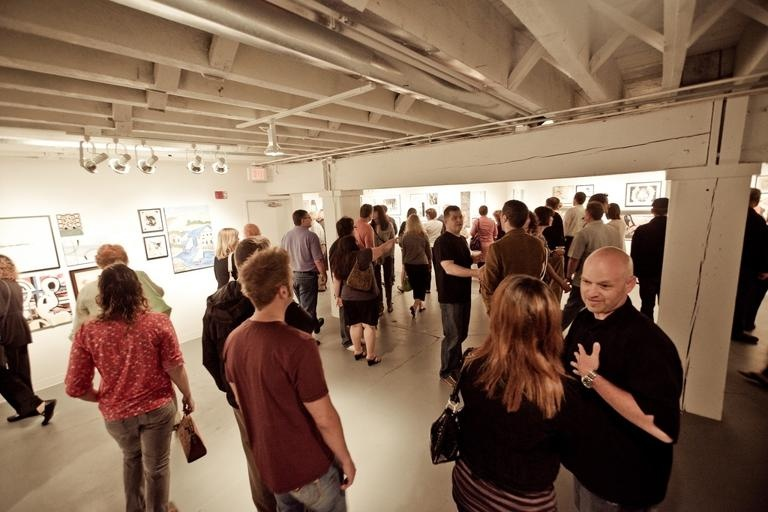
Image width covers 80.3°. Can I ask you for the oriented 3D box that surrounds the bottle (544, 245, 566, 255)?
[{"bbox_3d":[2.254,-0.060,5.954,0.256,0.141,0.343,-3,-4,39],"label":"bottle"}]

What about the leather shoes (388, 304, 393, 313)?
[{"bbox_3d":[0.117,0.918,7.950,0.051,0.112,0.162,6,16,20],"label":"leather shoes"}]

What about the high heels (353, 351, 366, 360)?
[{"bbox_3d":[-0.328,1.350,6.200,0.069,0.080,0.204,4,9,28],"label":"high heels"}]

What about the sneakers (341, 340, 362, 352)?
[{"bbox_3d":[-0.422,1.254,6.308,0.375,0.149,0.117,-3,-2,38],"label":"sneakers"}]

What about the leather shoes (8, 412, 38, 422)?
[{"bbox_3d":[-4.400,1.968,5.530,0.395,0.104,0.138,4,3,-9],"label":"leather shoes"}]

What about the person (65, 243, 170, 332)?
[{"bbox_3d":[-3.009,0.563,5.219,0.957,1.605,0.540,-8,42,-32],"label":"person"}]

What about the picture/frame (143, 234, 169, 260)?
[{"bbox_3d":[-3.644,-0.137,7.279,0.029,0.437,0.394,-4,2,32],"label":"picture/frame"}]

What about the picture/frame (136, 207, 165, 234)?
[{"bbox_3d":[-3.705,-0.568,7.215,0.029,0.437,0.382,-1,8,34],"label":"picture/frame"}]

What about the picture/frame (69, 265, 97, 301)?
[{"bbox_3d":[-4.289,0.429,6.550,0.483,0.475,0.026,-7,15,28],"label":"picture/frame"}]
